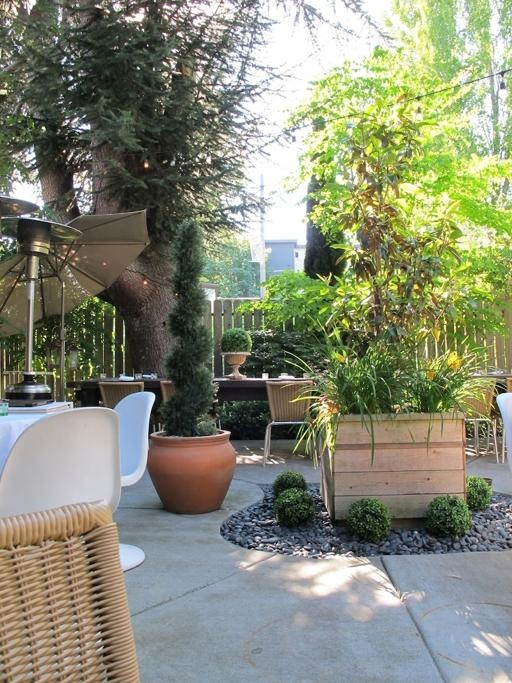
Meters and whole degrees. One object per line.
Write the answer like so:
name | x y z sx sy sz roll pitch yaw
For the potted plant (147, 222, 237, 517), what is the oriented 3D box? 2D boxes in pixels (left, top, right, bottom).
potted plant | -0.431 0.140 3.366 0.534 1.880 0.438 -1 -5 -15

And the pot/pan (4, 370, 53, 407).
pot/pan | -1.063 0.225 2.505 0.192 0.105 0.184 0 -1 14

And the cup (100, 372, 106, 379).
cup | -2.088 0.473 7.113 0.060 0.058 0.059 1 -3 0
